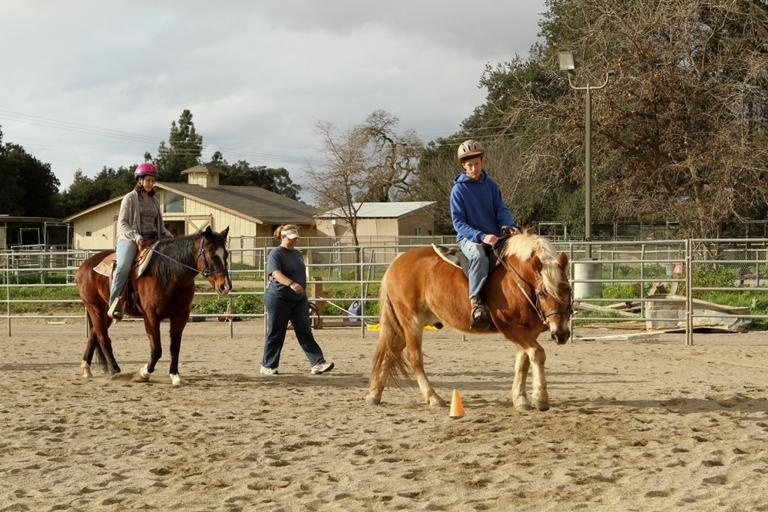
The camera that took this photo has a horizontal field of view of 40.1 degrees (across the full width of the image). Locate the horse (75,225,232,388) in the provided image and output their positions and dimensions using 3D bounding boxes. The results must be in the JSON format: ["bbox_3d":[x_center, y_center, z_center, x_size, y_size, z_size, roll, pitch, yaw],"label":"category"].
[{"bbox_3d":[-5.043,1.177,22.032,4.345,3.197,1.190,-5,-3,31],"label":"horse"}]

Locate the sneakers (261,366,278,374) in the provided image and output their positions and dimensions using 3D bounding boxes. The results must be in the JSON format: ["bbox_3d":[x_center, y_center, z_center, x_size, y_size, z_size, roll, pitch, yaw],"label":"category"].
[{"bbox_3d":[-2.457,2.411,22.281,0.140,0.173,0.348,3,-6,-41],"label":"sneakers"}]

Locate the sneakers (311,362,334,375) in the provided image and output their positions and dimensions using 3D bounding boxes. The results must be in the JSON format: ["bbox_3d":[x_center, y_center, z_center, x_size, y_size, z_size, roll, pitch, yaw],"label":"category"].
[{"bbox_3d":[-1.338,2.366,22.297,0.553,0.218,0.263,-15,-7,32],"label":"sneakers"}]

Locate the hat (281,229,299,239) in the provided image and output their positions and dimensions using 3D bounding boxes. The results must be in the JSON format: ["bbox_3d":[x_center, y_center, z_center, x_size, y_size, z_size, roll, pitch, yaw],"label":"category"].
[{"bbox_3d":[-1.999,-0.471,22.141,0.261,0.150,0.215,8,2,34],"label":"hat"}]

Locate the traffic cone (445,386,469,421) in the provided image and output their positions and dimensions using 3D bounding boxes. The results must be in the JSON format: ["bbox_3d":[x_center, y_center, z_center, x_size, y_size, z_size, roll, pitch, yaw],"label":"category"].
[{"bbox_3d":[1.328,2.800,19.816,0.399,0.632,0.437,0,-10,-6],"label":"traffic cone"}]

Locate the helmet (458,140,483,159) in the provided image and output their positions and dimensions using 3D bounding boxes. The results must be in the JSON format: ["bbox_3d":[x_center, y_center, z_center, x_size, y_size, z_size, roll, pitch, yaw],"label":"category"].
[{"bbox_3d":[1.639,-1.996,19.921,0.480,0.391,0.403,1,13,2],"label":"helmet"}]

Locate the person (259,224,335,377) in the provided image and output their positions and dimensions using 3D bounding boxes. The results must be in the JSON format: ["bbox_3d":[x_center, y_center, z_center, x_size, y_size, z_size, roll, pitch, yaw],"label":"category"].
[{"bbox_3d":[-2.010,0.935,22.278,1.386,3.167,1.058,-1,13,-4],"label":"person"}]
